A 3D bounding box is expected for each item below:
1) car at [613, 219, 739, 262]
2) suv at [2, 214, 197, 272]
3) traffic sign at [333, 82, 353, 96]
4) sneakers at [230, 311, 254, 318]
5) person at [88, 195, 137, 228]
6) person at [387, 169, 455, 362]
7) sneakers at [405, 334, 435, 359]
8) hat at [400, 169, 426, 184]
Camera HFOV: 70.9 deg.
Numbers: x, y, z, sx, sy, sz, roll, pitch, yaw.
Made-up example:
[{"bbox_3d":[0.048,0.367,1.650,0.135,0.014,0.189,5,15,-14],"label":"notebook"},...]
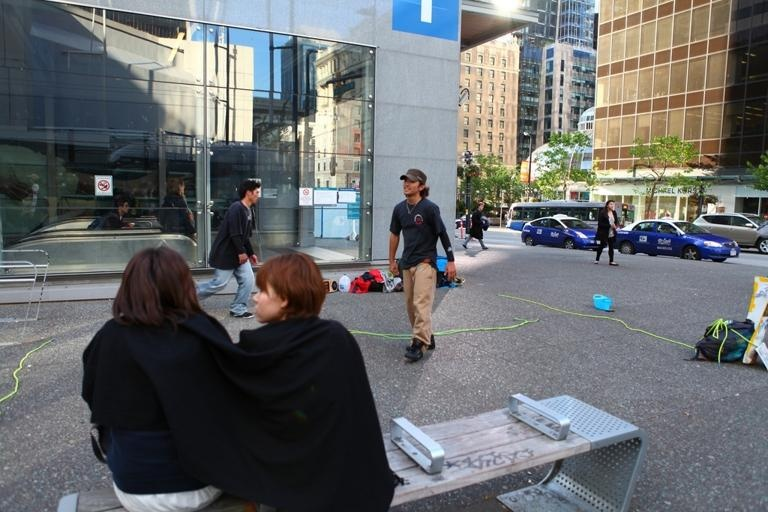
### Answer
[{"bbox_3d":[11.829,-0.615,22.098,0.850,1.499,4.457,-3,10,-28],"label":"car"},{"bbox_3d":[-6.462,-0.221,12.318,3.237,0.866,2.337,0,1,-26],"label":"suv"},{"bbox_3d":[-1.064,-4.431,14.439,0.559,0.418,0.044,-2,9,-22],"label":"traffic sign"},{"bbox_3d":[-2.511,1.037,9.497,0.393,0.157,0.144,-1,1,-6],"label":"sneakers"},{"bbox_3d":[-6.439,-0.991,12.647,1.173,0.867,0.750,1,-1,-11],"label":"person"},{"bbox_3d":[0.523,0.099,7.670,0.763,2.601,0.793,-1,8,-16],"label":"person"},{"bbox_3d":[0.519,1.334,7.678,0.197,0.269,0.591,-3,-7,26],"label":"sneakers"},{"bbox_3d":[0.460,-1.161,7.631,0.350,0.185,0.261,9,0,-36],"label":"hat"}]
